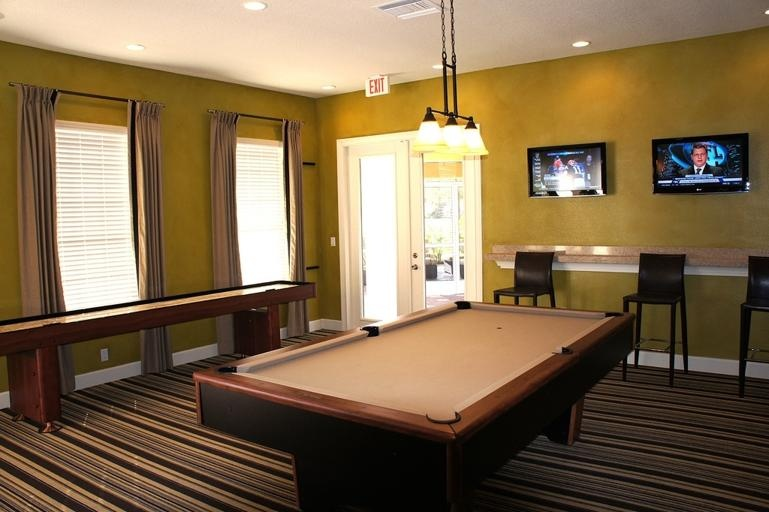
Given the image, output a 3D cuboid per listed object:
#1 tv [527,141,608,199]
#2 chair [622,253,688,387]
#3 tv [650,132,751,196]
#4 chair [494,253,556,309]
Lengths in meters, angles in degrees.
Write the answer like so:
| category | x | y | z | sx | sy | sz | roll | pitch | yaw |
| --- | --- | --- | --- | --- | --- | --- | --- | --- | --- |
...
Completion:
| category | x | y | z | sx | sy | sz | roll | pitch | yaw |
| --- | --- | --- | --- | --- | --- | --- | --- | --- | --- |
| tv | 2.214 | -1.023 | 6.794 | 0.775 | 0.500 | 0.080 | 1 | 6 | 25 |
| chair | 2.992 | 0.651 | 6.274 | 0.650 | 1.311 | 0.809 | 3 | 12 | 27 |
| tv | 3.461 | -0.995 | 6.183 | 0.789 | 0.515 | 0.080 | 1 | 5 | 25 |
| chair | 1.663 | 0.405 | 6.731 | 0.660 | 0.847 | 0.651 | -1 | 8 | 24 |
